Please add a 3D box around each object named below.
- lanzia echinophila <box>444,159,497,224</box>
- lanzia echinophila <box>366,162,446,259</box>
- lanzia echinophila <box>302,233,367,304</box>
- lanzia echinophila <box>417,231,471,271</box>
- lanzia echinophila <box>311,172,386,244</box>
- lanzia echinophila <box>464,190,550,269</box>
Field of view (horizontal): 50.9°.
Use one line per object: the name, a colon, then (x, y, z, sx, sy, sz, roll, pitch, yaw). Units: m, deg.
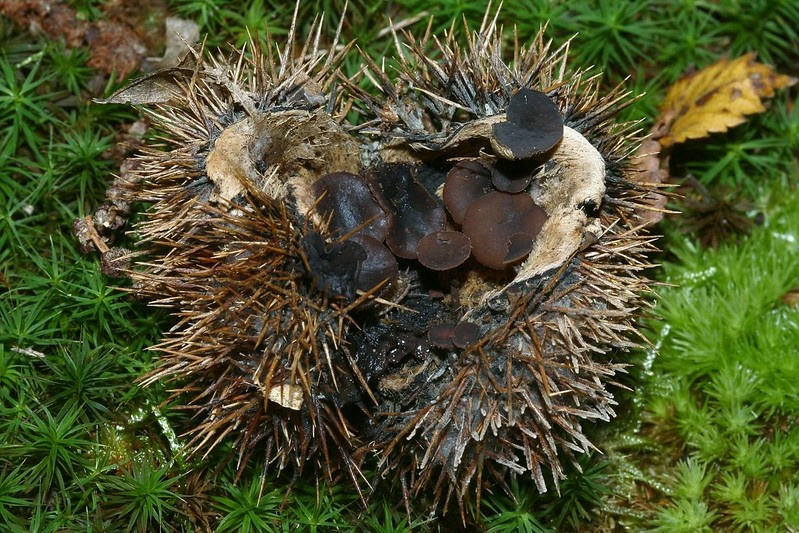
lanzia echinophila: (0.311, -0.349, 3.955, 0.278, 0.098, 0.288, 9, 87, -9)
lanzia echinophila: (0.040, -0.286, 3.980, 0.338, 0.171, 0.463, -17, 78, -9)
lanzia echinophila: (-0.290, 0.003, 3.568, 0.259, 0.214, 0.261, 10, 85, 2)
lanzia echinophila: (0.203, -0.078, 3.829, 0.247, 0.092, 0.180, 1, 84, 1)
lanzia echinophila: (-0.229, -0.268, 3.868, 0.265, 0.124, 0.406, -31, 85, -2)
lanzia echinophila: (0.521, -0.220, 3.945, 0.356, 0.313, 0.116, 20, 49, -26)
